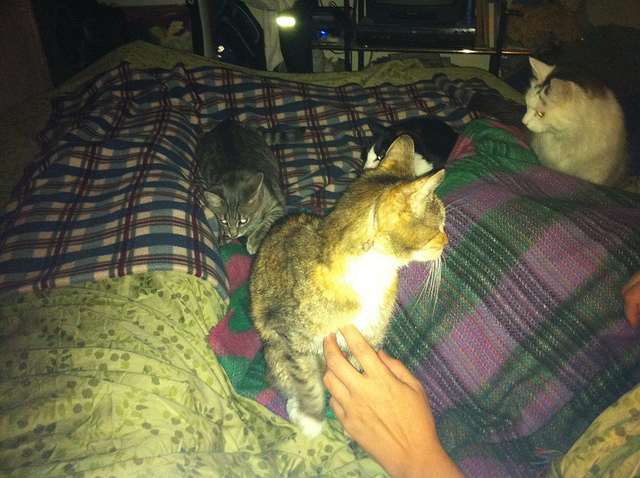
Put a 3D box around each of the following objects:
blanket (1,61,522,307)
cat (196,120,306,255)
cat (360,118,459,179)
[{"bbox_3d":[-0.185,-0.414,2.799,2.536,0.299,1.616,15,49,-16],"label":"blanket"},{"bbox_3d":[-0.460,-0.392,3.485,0.601,0.927,0.477,4,-13,2],"label":"cat"},{"bbox_3d":[0.538,-0.529,3.097,0.506,0.384,0.267,-17,42,26],"label":"cat"}]
